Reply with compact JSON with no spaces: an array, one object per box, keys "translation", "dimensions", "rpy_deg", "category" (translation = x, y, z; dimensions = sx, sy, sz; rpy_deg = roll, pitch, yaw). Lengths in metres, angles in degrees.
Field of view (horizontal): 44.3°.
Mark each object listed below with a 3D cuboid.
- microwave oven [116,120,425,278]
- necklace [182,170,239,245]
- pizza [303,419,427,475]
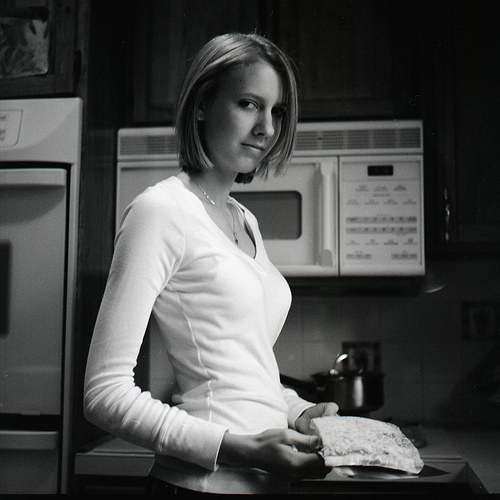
[{"translation":[0.039,-0.081,0.955],"dimensions":[0.399,0.264,0.188],"rpy_deg":[1,3,8],"category":"microwave oven"},{"translation":[-0.043,-0.058,0.844],"dimensions":[0.058,0.067,0.095],"rpy_deg":[4,2,43],"category":"necklace"},{"translation":[0.143,0.248,0.776],"dimensions":[0.140,0.051,0.102],"rpy_deg":[3,2,-3],"category":"pizza"}]
